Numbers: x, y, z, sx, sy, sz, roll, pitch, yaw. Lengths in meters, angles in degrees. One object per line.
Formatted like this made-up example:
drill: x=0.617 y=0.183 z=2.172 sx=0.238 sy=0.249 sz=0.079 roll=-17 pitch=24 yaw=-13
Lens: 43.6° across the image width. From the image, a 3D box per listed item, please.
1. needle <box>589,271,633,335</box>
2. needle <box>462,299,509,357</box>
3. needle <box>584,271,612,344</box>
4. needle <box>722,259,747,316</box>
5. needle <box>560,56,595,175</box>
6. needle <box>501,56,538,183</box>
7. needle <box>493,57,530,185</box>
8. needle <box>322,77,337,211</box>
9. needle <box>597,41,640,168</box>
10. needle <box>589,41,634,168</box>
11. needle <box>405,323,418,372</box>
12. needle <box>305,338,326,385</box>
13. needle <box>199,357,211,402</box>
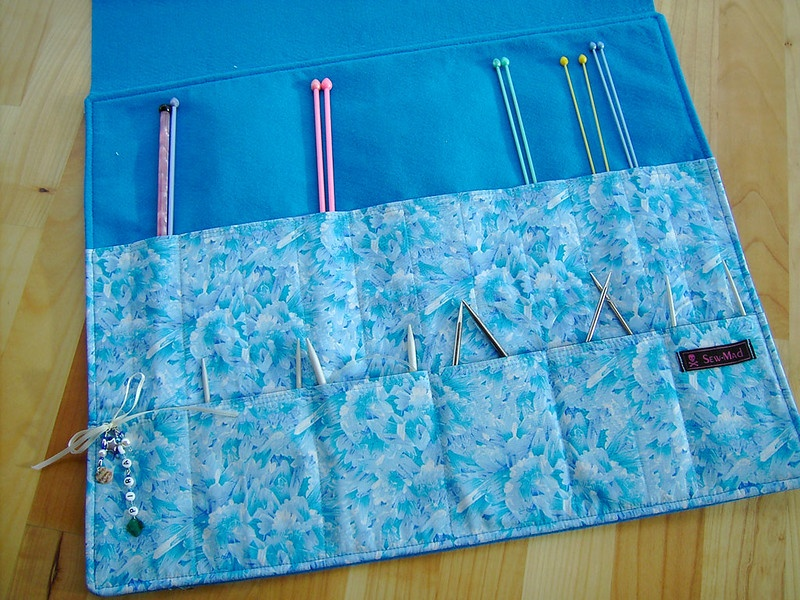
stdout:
needle: x=0.474 y=0.013 z=2.325 sx=0.109 sy=0.163 sz=0.025 roll=-8 pitch=-10 yaw=-7
needle: x=0.197 y=0.073 z=2.324 sx=0.017 sy=0.139 sz=0.018 roll=-29 pitch=-11 yaw=-10
needle: x=0.460 y=0.018 z=2.322 sx=0.043 sy=0.169 sz=0.006 roll=10 pitch=-13 yaw=3
needle: x=0.777 y=-0.020 z=2.328 sx=0.012 sy=0.131 sz=0.013 roll=-9 pitch=-12 yaw=-9
needle: x=0.432 y=-0.435 z=2.440 sx=0.029 sy=0.305 sz=0.021 roll=6 pitch=-22 yaw=-40
needle: x=0.291 y=-0.425 z=2.441 sx=0.023 sy=0.315 sz=0.023 roll=-13 pitch=-6 yaw=-6
needle: x=0.270 y=-0.421 z=2.440 sx=0.020 sy=0.320 sz=0.031 roll=-17 pitch=-10 yaw=34
needle: x=-0.173 y=-0.369 z=2.432 sx=0.028 sy=0.356 sz=0.030 roll=-4 pitch=-12 yaw=2
needle: x=0.532 y=-0.461 z=2.441 sx=0.027 sy=0.316 sz=0.030 roll=-11 pitch=-12 yaw=-2
needle: x=0.516 y=-0.461 z=2.442 sx=0.033 sy=0.317 sz=0.042 roll=-18 pitch=-10 yaw=33
needle: x=0.026 y=0.115 z=2.312 sx=0.024 sy=0.113 sz=0.022 roll=-9 pitch=-10 yaw=0
needle: x=-0.194 y=0.149 z=2.313 sx=0.013 sy=0.106 sz=0.014 roll=-21 pitch=-17 yaw=-1
needle: x=-0.453 y=0.190 z=2.324 sx=0.020 sy=0.103 sz=0.015 roll=-7 pitch=-10 yaw=-6
